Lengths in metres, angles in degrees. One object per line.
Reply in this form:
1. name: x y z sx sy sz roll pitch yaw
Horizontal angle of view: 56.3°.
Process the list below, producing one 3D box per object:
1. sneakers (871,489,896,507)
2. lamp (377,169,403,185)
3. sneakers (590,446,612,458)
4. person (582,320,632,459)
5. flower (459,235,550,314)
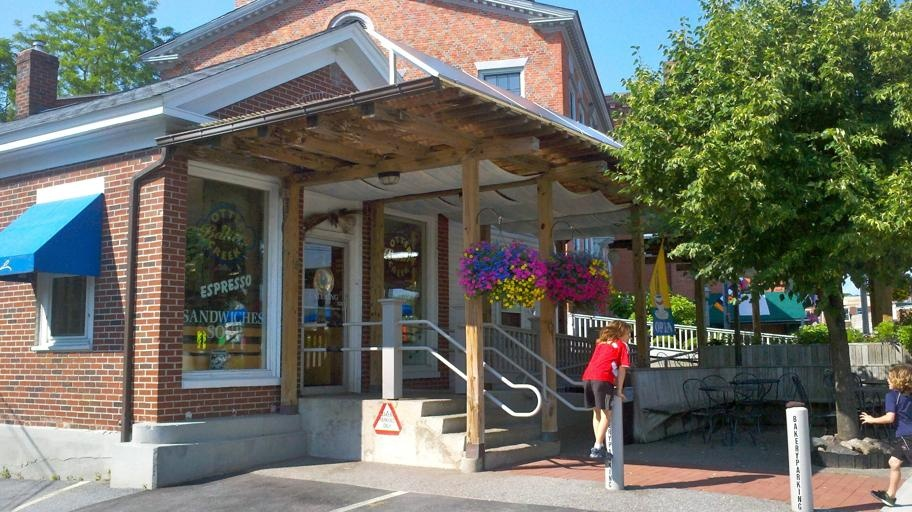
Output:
1. sneakers: 7.748 4.368 15.512 0.398 0.263 0.273 -5 -10 22
2. lamp: -1.395 -1.711 18.598 0.344 0.151 0.343 -5 -7 37
3. sneakers: 2.837 3.744 16.280 0.563 0.216 0.238 2 -3 -18
4. person: 2.975 2.609 16.779 0.910 2.673 1.055 -3 -10 8
5. flower: 0.952 0.469 18.066 1.892 1.038 1.641 -1 0 25
